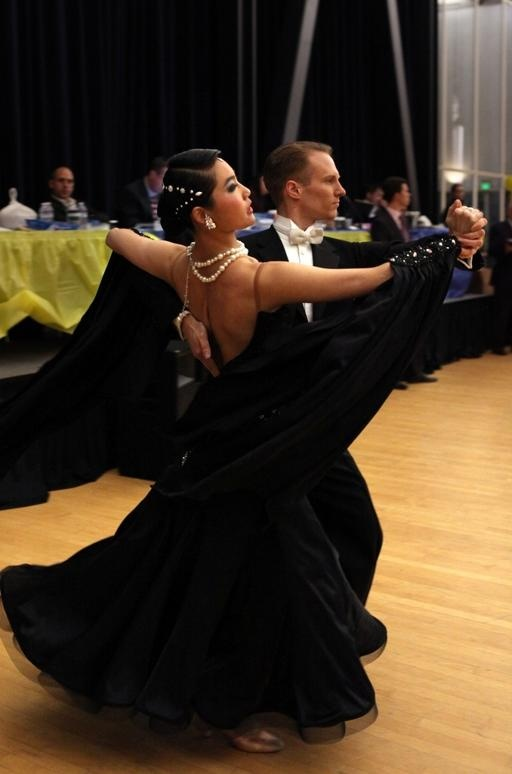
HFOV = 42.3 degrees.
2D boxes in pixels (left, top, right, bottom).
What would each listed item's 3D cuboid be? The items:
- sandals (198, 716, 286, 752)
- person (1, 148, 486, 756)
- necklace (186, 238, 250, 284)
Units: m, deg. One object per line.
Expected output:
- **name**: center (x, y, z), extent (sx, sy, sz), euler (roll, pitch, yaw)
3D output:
- **sandals**: center (-0.027, 0.705, 1.352), extent (0.152, 0.036, 0.087), euler (12, 9, 7)
- **person**: center (-0.075, 0.104, 1.351), extent (0.974, 1.246, 0.466), euler (3, 5, 17)
- **necklace**: center (-0.068, -0.233, 1.243), extent (0.082, 0.030, 0.102), euler (16, 53, 43)
